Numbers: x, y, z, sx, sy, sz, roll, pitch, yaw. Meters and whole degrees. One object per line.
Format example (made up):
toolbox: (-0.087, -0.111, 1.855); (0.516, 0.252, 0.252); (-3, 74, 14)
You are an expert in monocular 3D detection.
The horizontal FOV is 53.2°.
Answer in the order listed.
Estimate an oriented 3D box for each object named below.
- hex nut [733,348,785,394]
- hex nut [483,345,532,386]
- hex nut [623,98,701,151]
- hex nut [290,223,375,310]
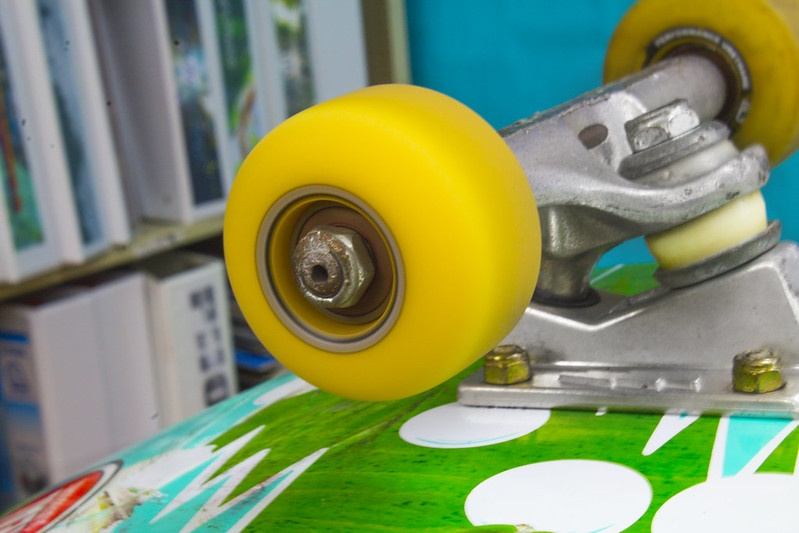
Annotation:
hex nut: (0.343, 0.099, 0.768); (0.045, 0.034, 0.044); (-14, 11, -30)
hex nut: (0.115, 0.099, 0.847); (0.040, 0.031, 0.042); (1, 12, 38)
hex nut: (0.268, -0.144, 0.816); (0.064, 0.048, 0.015); (-18, 26, -5)
hex nut: (-0.062, -0.005, 0.673); (0.076, 0.071, 0.042); (1, 23, 13)
